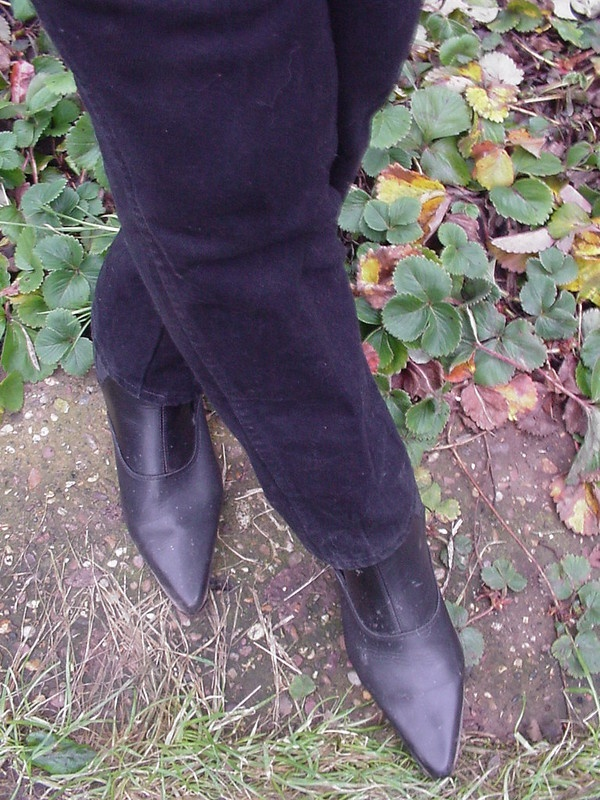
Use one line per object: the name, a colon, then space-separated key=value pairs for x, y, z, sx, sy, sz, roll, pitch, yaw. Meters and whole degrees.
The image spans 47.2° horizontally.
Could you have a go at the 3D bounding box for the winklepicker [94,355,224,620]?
winklepicker: x=-0.182 y=0.155 z=1.160 sx=0.156 sy=0.180 sz=0.446 roll=-16 pitch=92 yaw=-9
